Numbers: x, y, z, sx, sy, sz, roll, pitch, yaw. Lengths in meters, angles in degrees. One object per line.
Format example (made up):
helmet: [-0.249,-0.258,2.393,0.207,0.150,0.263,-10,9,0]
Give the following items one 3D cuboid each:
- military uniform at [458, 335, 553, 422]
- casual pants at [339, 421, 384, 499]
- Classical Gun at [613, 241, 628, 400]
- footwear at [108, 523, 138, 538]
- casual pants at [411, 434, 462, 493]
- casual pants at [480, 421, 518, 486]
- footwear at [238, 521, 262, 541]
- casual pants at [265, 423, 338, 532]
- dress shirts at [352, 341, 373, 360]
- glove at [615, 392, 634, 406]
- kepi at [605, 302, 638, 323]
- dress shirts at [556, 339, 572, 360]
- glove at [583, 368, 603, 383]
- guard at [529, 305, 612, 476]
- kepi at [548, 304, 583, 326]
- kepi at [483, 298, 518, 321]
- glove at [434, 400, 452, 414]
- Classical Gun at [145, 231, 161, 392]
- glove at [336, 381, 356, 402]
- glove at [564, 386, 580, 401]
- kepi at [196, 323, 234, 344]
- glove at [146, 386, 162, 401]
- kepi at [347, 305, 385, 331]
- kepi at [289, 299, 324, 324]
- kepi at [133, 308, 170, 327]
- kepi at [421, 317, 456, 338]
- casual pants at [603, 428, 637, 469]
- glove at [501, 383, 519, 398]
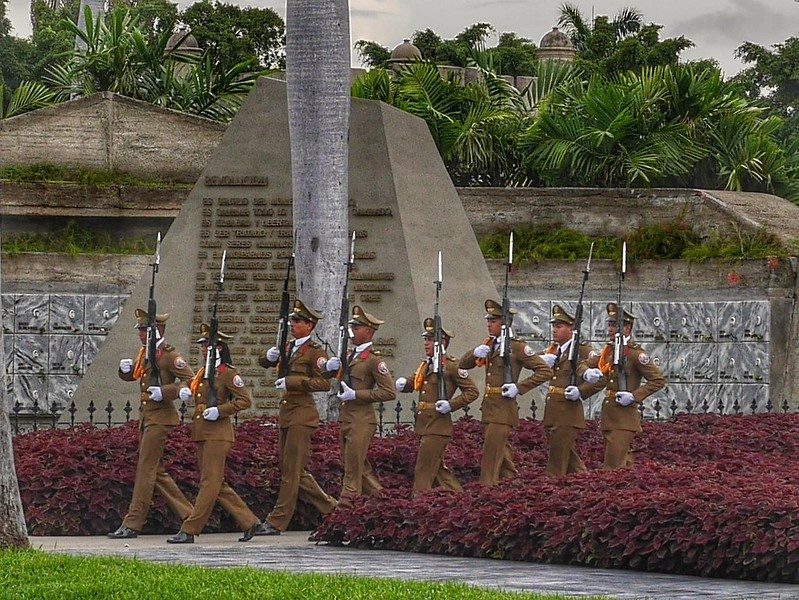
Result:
military uniform: [1.514,1.113,31.423,0.380,0.946,1.135,16,-18,-36]
casual pants: [-0.563,2.174,30.023,0.549,1.036,0.889,1,1,25]
Classical Gun: [3.314,0.340,32.126,0.118,2.439,0.497,1,1,-17]
footwear: [-3.777,3.118,29.648,0.422,0.189,0.168,7,-5,-7]
casual pants: [0.522,2.224,30.203,0.725,0.769,0.534,0,1,-23]
casual pants: [1.401,2.118,30.673,0.474,0.833,0.852,1,0,19]
footwear: [-2.005,3.143,29.625,0.409,0.178,0.132,-39,11,-23]
casual pants: [-1.354,2.405,30.054,0.935,1.442,0.544,0,1,-4]
dress shirts: [-0.502,0.679,30.427,0.259,0.252,0.182,10,-15,-22]
glove: [3.243,1.358,30.775,0.256,0.201,0.139,0,1,0]
kepi: [3.220,0.122,31.294,0.302,0.199,0.333,-6,-9,42]
dress shirts: [2.408,0.686,31.268,0.176,0.234,0.142,5,3,8]
glove: [2.785,1.050,30.880,0.259,0.220,0.487,0,0,4]
guard: [2.566,1.388,31.823,1.101,2.964,1.270,15,-26,-20]
kepi: [2.389,0.164,31.347,0.326,0.196,0.269,22,-17,-35]
kepi: [1.454,0.112,31.127,0.345,0.187,0.308,14,-17,-40]
glove: [0.635,1.453,30.170,0.197,0.182,0.154,10,7,33]
Classical Gun: [-3.524,0.223,31.180,0.115,2.477,0.500,0,3,-29]
glove: [-0.706,1.230,30.080,0.286,0.282,0.200,1,1,17]
glove: [2.515,1.296,30.901,0.239,0.204,0.186,0,0,-7]
kepi: [-2.500,0.430,29.909,0.393,0.206,0.323,11,-12,-23]
glove: [-3.342,1.241,29.771,0.194,0.195,0.174,2,-26,-12]
kepi: [-0.439,0.238,30.538,0.428,0.253,0.316,15,-3,-11]
kepi: [-1.266,0.163,30.219,0.369,0.210,0.331,19,2,-13]
kepi: [-3.458,0.238,30.472,0.394,0.211,0.334,7,-9,-26]
kepi: [0.581,0.361,30.839,0.381,0.193,0.300,12,-8,-26]
casual pants: [3.150,2.069,30.883,0.432,0.520,0.325,0,1,5]
glove: [1.597,1.246,30.636,0.244,0.215,0.274,0,0,3]
